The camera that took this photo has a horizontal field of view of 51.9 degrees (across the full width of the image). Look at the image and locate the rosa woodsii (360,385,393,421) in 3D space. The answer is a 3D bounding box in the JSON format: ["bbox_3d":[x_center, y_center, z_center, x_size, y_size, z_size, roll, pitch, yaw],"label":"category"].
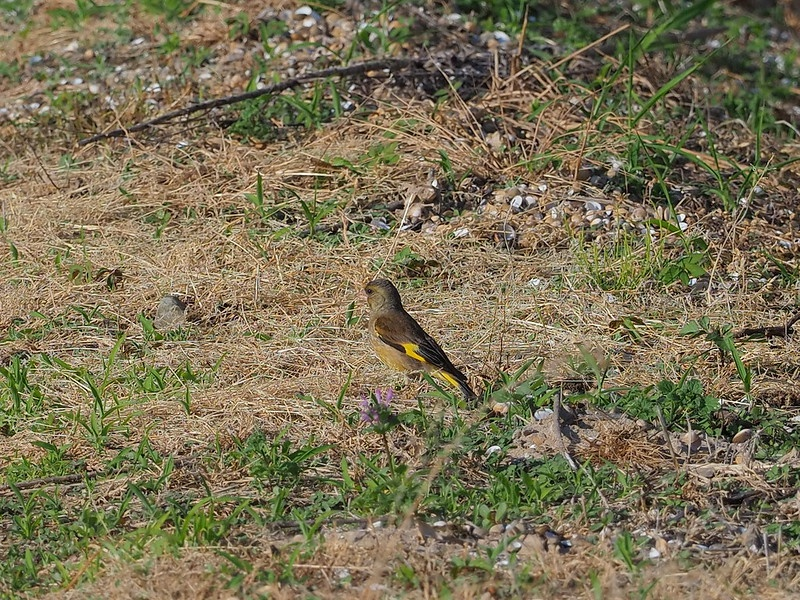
[{"bbox_3d":[-0.127,0.532,4.183,0.204,0.189,0.099,-31,64,-13],"label":"rosa woodsii"}]
